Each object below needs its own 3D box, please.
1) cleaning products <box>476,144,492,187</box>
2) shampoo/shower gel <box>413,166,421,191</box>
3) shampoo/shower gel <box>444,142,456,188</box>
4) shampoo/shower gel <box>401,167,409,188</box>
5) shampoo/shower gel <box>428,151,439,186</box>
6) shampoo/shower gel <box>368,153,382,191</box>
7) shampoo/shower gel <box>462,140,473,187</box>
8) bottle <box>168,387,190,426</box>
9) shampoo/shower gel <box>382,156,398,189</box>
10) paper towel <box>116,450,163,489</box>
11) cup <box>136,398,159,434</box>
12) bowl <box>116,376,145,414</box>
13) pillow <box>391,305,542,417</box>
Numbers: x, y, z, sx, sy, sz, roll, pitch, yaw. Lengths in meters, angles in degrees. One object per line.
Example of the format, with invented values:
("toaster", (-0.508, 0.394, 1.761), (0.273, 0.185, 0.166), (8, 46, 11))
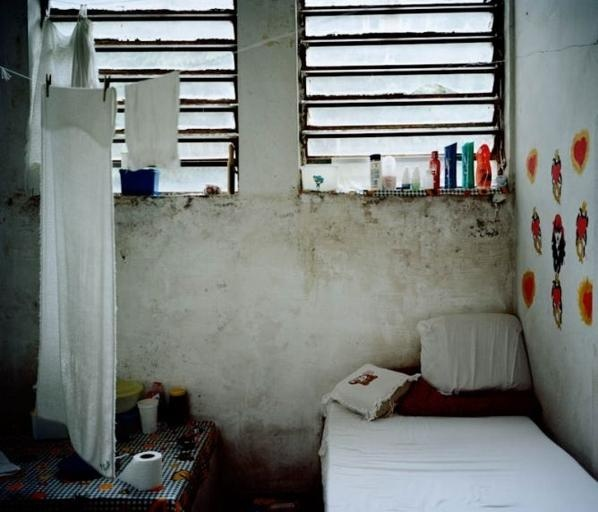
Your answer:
("cleaning products", (1.283, -0.607, 4.809), (0.142, 0.295, 0.142), (0, 4, -10))
("shampoo/shower gel", (0.797, -0.520, 4.775), (0.053, 0.150, 0.032), (1, 4, 8))
("shampoo/shower gel", (1.029, -0.608, 4.777), (0.085, 0.302, 0.059), (3, 4, 35))
("shampoo/shower gel", (0.739, -0.536, 4.837), (0.052, 0.147, 0.113), (1, 4, 8))
("shampoo/shower gel", (0.925, -0.577, 4.782), (0.060, 0.261, 0.091), (1, 4, 3))
("shampoo/shower gel", (0.530, -0.571, 4.805), (0.077, 0.239, 0.089), (1, 4, 4))
("shampoo/shower gel", (1.155, -0.612, 4.793), (0.077, 0.307, 0.172), (2, 4, 17))
("bottle", (-0.817, 1.009, 4.763), (0.121, 0.220, 0.134), (2, 8, 20))
("shampoo/shower gel", (0.617, -0.564, 4.804), (0.090, 0.232, 0.101), (1, 4, 6))
("paper towel", (-0.916, 1.262, 4.135), (0.219, 0.250, 0.239), (0, -36, 2))
("cup", (-0.994, 1.050, 4.656), (0.142, 0.217, 0.156), (-2, 11, 0))
("bowl", (-1.128, 0.930, 4.702), (0.180, 0.155, 0.326), (0, 5, -14))
("pillow", (1.136, 0.726, 4.553), (0.595, 0.498, 0.690), (-2, 12, 4))
